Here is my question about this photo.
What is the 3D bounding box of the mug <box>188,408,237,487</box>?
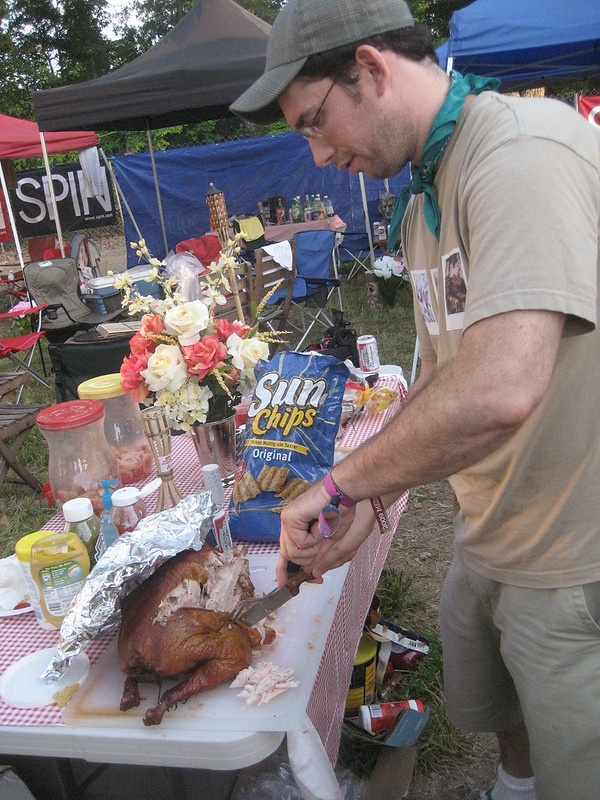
[{"bbox_3d":[-0.244,0.136,1.821,0.163,0.188,0.140,-13,13,-20],"label":"mug"}]

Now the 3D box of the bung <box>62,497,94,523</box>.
[{"bbox_3d":[-0.455,0.224,1.318,0.053,0.028,0.051,0,10,-2],"label":"bung"}]

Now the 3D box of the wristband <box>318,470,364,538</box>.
[{"bbox_3d":[0.056,0.186,1.171,0.033,0.134,0.083,-24,64,-9],"label":"wristband"}]

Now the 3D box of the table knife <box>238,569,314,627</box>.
[{"bbox_3d":[-0.043,0.384,1.242,0.133,0.051,0.020,-43,28,-5],"label":"table knife"}]

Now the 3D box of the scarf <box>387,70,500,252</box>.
[{"bbox_3d":[0.271,-0.421,1.231,0.163,0.250,0.119,-6,23,-19],"label":"scarf"}]

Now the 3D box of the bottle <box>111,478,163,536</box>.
[{"bbox_3d":[-0.379,0.227,1.470,0.073,0.113,0.119,17,23,39],"label":"bottle"}]

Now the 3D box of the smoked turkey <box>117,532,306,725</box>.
[{"bbox_3d":[-0.150,0.386,1.175,0.193,0.122,0.314,-6,25,27],"label":"smoked turkey"}]
